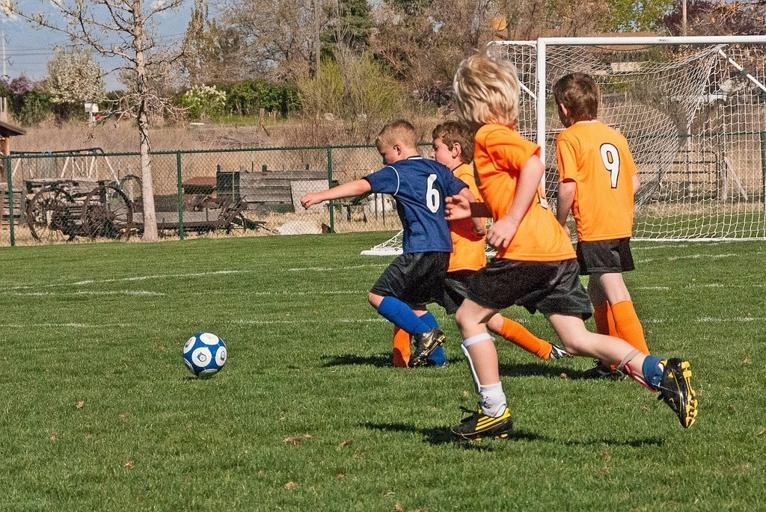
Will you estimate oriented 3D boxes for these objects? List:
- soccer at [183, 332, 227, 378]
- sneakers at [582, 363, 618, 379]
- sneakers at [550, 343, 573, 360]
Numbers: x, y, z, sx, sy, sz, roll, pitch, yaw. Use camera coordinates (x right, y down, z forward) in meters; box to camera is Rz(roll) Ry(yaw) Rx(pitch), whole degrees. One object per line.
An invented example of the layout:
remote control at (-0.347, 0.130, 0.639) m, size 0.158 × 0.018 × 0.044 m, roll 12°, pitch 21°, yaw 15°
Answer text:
soccer at (-1.892, 1.045, 10.851) m, size 0.427 × 0.460 × 0.441 m, roll -1°, pitch 4°, yaw -6°
sneakers at (2.193, 1.181, 10.307) m, size 0.375 × 0.186 × 0.144 m, roll -1°, pitch -4°, yaw 9°
sneakers at (1.857, 1.015, 10.685) m, size 0.366 × 0.177 × 0.130 m, roll 2°, pitch 3°, yaw -32°
